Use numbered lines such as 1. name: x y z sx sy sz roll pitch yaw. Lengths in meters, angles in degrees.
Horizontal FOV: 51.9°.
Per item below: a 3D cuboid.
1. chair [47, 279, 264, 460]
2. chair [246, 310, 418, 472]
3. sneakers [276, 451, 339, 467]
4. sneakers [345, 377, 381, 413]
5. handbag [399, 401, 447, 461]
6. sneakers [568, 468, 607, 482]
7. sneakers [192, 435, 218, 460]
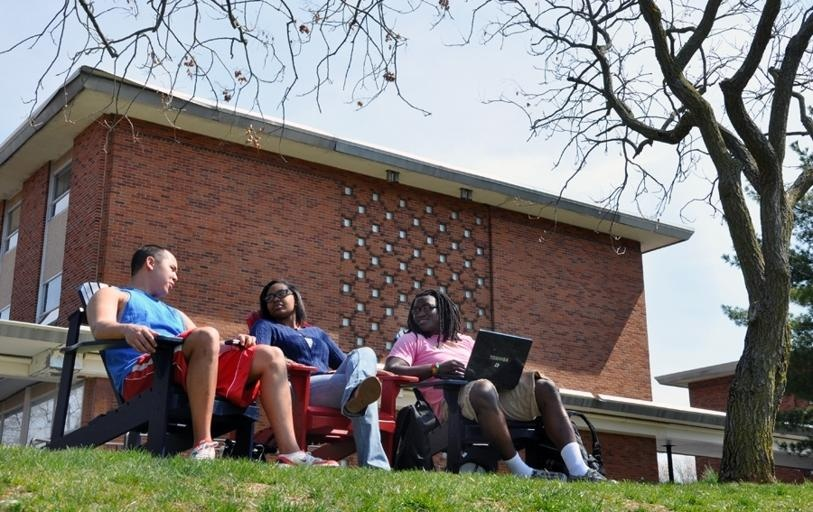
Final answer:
1. chair: -2.711 1.321 9.086 2.247 1.875 1.672 -5 -16 38
2. chair: -0.679 1.630 9.522 1.592 1.635 2.494 16 -15 -28
3. sneakers: -0.995 2.050 8.382 0.603 0.192 0.234 -1 -12 -4
4. sneakers: -0.473 1.474 8.832 0.269 0.460 0.182 46 7 -15
5. handbag: 0.156 2.101 9.853 0.496 0.686 0.674 11 -30 -34
6. sneakers: 1.928 2.342 8.879 0.398 0.140 0.138 -1 -6 -1
7. sneakers: -1.929 1.874 7.996 0.142 0.147 0.378 1 -22 -31
